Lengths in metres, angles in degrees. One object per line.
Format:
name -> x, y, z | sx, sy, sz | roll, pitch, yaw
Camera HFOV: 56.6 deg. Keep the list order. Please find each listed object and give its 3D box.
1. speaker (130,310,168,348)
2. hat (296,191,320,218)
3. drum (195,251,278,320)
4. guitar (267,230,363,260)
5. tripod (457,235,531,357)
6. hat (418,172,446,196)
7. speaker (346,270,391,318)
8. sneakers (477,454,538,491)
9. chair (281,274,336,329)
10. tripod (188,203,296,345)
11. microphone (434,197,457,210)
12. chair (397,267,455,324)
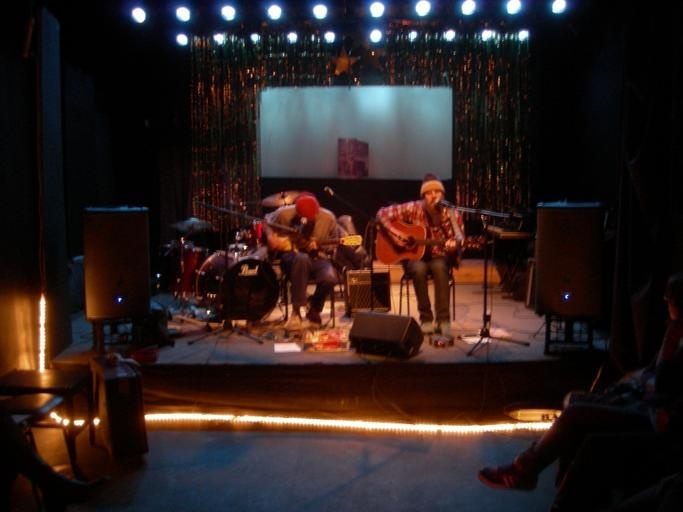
speaker -> -1.705, 0.688, 5.740 | 0.252, 0.342, 0.327 | -4, -6, 33
hat -> -0.333, -0.499, 6.362 | 0.228, 0.272, 0.340 | -1, 3, -4
drum -> -1.069, 0.309, 6.484 | 0.697, 0.764, 0.731 | 2, 5, -21
guitar -> -0.266, -0.119, 6.389 | 0.892, 0.106, 0.366 | 6, -2, 0
tripod -> 1.680, 0.442, 6.898 | 0.605, 1.156, 1.074 | -1, 2, 7
hat -> 0.947, -0.736, 6.494 | 0.217, 0.282, 0.318 | -2, -7, -2
speaker -> 0.300, 0.339, 6.754 | 0.541, 0.619, 0.405 | 1, 9, 5
sneakers -> 1.139, 1.484, 4.393 | 0.400, 0.204, 0.167 | -1, 7, 32
chair -> -0.324, 0.505, 6.483 | 0.406, 0.746, 0.539 | 6, -17, -14
tripod -> -1.019, 0.148, 6.381 | 0.815, 1.226, 0.625 | 1, 3, 33
microphone -> 1.005, -0.485, 6.001 | 0.176, 0.095, 0.383 | -1, 2, 8
chair -> 0.892, 0.324, 6.239 | 0.402, 0.704, 0.394 | -7, 0, -20
